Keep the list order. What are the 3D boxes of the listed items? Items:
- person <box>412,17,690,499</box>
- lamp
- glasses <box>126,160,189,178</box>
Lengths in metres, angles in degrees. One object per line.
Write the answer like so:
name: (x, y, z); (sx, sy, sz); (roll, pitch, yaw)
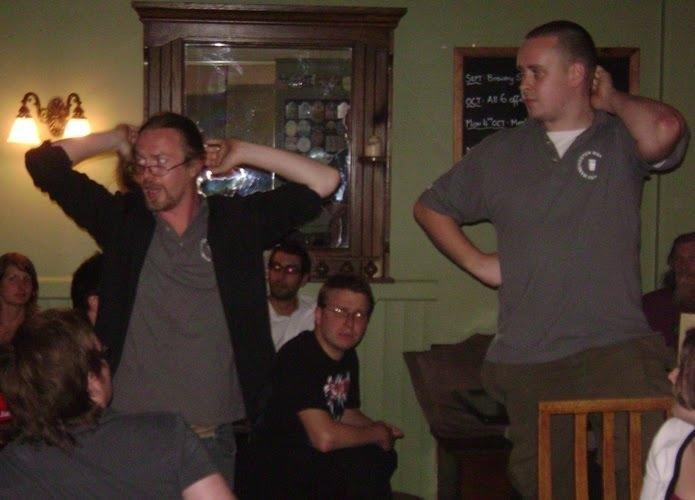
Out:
person: (0.925, 0.093, 3.173); (1.076, 2.176, 0.351); (1, 7, 5)
lamp: (-2.073, -0.900, 4.874); (0.745, 0.384, 0.275); (-2, 4, -24)
glasses: (-0.833, -0.366, 3.183); (0.236, 0.073, 0.094); (0, 6, -1)
